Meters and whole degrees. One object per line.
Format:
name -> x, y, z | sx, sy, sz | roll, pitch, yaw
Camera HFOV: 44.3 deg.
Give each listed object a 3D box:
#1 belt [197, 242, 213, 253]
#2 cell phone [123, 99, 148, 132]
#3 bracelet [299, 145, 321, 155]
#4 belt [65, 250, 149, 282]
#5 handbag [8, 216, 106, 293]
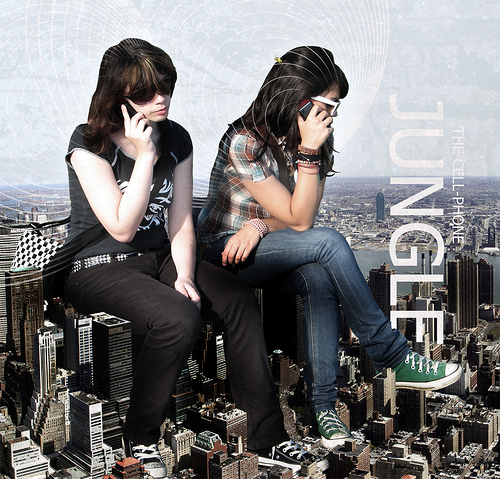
belt -> -0.146, 0.024, 2.034 | 0.028, 0.025, 0.038 | -6, -36, -46
cell phone -> -0.342, -0.371, 1.770 | 0.031, 0.137, 0.054 | -25, -32, -29
bracelet -> 0.184, -0.276, 1.889 | 0.063, 0.033, 0.022 | 1, 1, 7
belt -> -0.427, 0.073, 1.818 | 0.250, 0.080, 0.114 | 0, 1, -7
handbag -> -0.632, 0.073, 2.115 | 0.126, 0.272, 0.338 | 29, -30, -36
